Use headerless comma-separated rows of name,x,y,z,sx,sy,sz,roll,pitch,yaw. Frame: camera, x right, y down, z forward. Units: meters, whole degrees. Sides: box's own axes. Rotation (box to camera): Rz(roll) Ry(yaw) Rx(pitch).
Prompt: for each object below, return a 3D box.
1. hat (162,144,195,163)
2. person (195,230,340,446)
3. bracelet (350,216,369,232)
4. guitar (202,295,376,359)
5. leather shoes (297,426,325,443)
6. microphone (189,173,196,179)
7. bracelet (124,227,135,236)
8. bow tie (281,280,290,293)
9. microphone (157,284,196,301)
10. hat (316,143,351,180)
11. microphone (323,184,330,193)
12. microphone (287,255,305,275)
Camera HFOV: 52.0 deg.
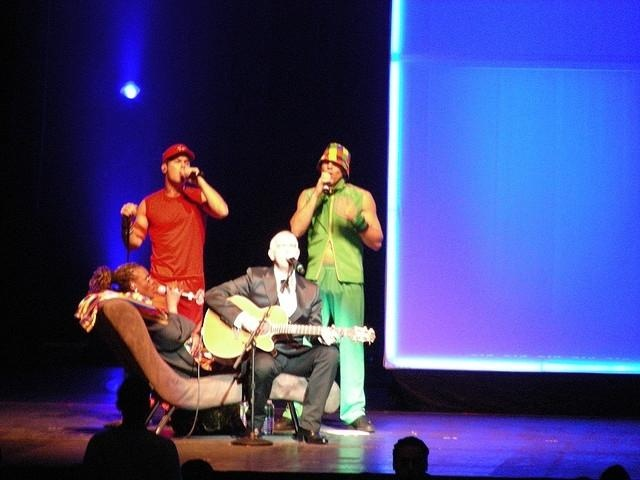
hat,-1.142,-0.678,5.237,0.223,0.151,0.150,0,9,-26
person,-0.367,0.936,5.091,0.822,1.501,1.378,3,-24,-9
bracelet,0.297,-0.112,4.958,0.106,0.115,0.118,-21,34,18
guitar,-0.247,0.611,4.369,1.072,0.560,0.166,8,-18,-7
leather shoes,-0.066,1.344,4.505,0.212,0.105,0.086,-3,-9,26
microphone,-1.011,-0.497,5.136,0.053,0.058,0.059,2,9,-16
bracelet,-1.519,-0.062,5.160,0.057,0.062,0.023,-2,9,-34
bow tie,-0.261,0.337,4.700,0.049,0.089,0.081,25,11,8
microphone,-1.081,0.396,4.832,0.221,0.065,0.072,20,23,27
hat,0.115,-0.646,5.274,0.208,0.251,0.315,11,-30,11
microphone,0.047,-0.389,5.085,0.054,0.088,0.183,4,9,0
microphone,-0.157,0.178,4.520,0.069,0.070,0.216,-6,13,-11
